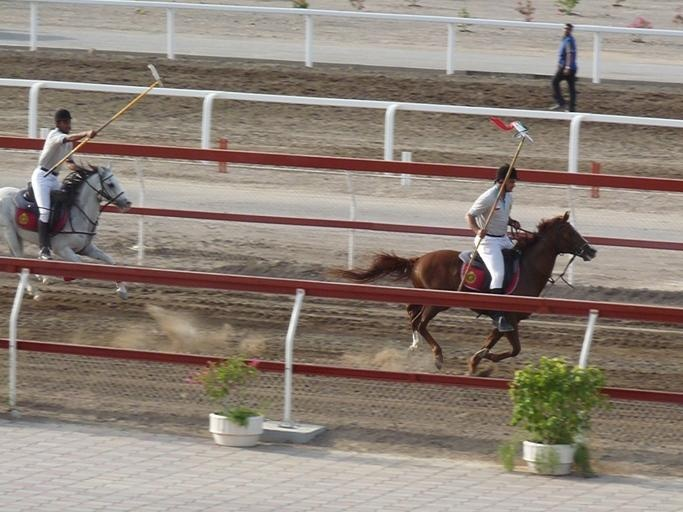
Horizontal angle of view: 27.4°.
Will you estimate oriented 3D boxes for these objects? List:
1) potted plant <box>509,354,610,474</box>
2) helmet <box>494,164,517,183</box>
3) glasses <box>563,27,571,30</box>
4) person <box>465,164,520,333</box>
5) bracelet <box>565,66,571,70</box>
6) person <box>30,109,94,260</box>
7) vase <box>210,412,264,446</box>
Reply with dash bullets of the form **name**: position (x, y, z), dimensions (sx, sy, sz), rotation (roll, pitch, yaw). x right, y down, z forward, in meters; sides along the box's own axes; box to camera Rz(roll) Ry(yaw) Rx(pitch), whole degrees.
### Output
- **potted plant**: position (2.410, 1.812, 15.919), dimensions (1.072, 1.236, 0.742), rotation (5, 20, 7)
- **helmet**: position (2.180, -1.095, 18.706), dimensions (0.243, 0.226, 0.332), rotation (3, 16, 2)
- **glasses**: position (4.126, -4.212, 25.824), dimensions (0.080, 0.055, 0.057), rotation (-7, 22, 33)
- **person**: position (2.010, -0.386, 18.816), dimensions (0.723, 1.757, 0.761), rotation (5, 21, 5)
- **bracelet**: position (4.110, -3.444, 25.564), dimensions (0.114, 0.060, 0.019), rotation (0, -19, 6)
- **person**: position (-4.164, -1.015, 20.558), dimensions (0.812, 2.341, 1.378), rotation (-1, 20, -12)
- **vase**: position (-1.221, 1.999, 16.208), dimensions (0.645, 0.192, 0.491), rotation (2, 2, 15)
